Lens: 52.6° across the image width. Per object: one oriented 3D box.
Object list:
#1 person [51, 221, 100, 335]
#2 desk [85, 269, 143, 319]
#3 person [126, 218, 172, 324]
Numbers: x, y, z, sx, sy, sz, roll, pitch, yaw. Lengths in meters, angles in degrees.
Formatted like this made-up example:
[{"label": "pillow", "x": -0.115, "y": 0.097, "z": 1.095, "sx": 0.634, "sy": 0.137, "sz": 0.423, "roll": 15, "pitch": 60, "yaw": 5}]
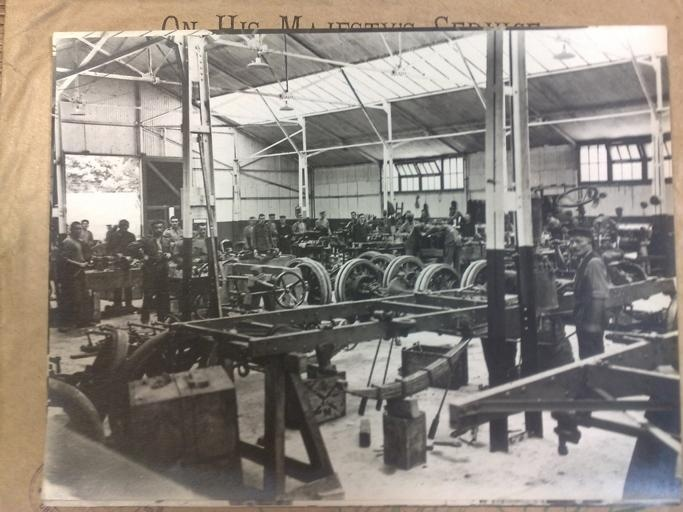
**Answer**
[{"label": "person", "x": -2.714, "y": 0.202, "z": 6.981, "sx": 0.335, "sy": 0.855, "sz": 0.369, "roll": -2, "pitch": -1, "yaw": -22}, {"label": "desk", "x": -2.398, "y": 0.462, "z": 7.755, "sx": 0.786, "sy": 0.538, "sz": 0.471, "roll": -6, "pitch": -14, "yaw": 22}, {"label": "person", "x": -2.008, "y": 0.160, "z": 7.215, "sx": 0.367, "sy": 0.864, "sz": 0.457, "roll": -2, "pitch": -1, "yaw": -21}]
